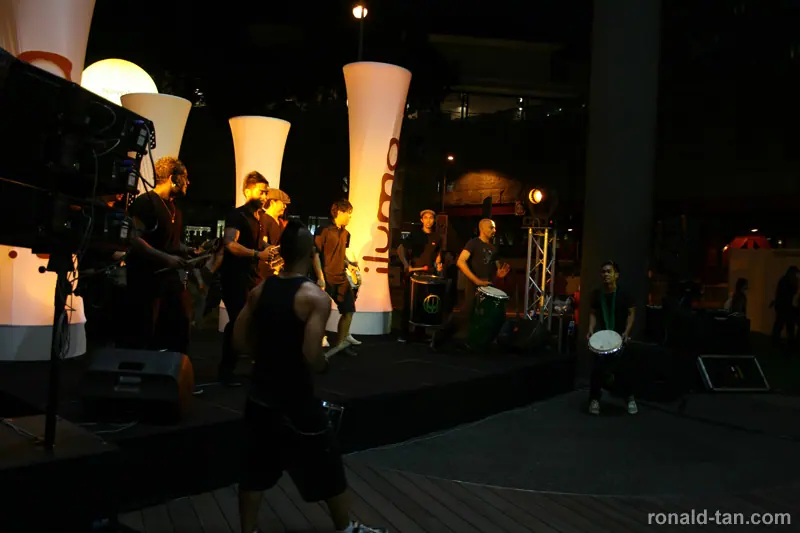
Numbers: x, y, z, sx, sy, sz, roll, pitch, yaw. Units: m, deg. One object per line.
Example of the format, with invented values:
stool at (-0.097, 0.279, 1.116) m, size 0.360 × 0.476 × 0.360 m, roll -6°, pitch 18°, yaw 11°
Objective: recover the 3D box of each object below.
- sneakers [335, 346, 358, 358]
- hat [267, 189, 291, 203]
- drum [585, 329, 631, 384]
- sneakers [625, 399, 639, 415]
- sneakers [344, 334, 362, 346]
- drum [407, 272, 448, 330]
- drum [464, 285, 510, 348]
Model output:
sneakers at (-0.728, 1.220, 8.356) m, size 0.392 × 0.177 × 0.137 m, roll -1°, pitch 0°, yaw 12°
hat at (-1.480, -0.865, 7.059) m, size 0.150 × 0.085 × 0.214 m, roll 4°, pitch 0°, yaw 40°
drum at (2.739, 1.249, 7.705) m, size 0.503 × 0.655 × 0.467 m, roll -13°, pitch 26°, yaw 6°
sneakers at (3.167, 1.933, 7.975) m, size 0.183 × 0.191 × 0.151 m, roll -2°, pitch 2°, yaw 20°
sneakers at (-0.688, 1.119, 8.727) m, size 0.316 × 0.134 × 0.103 m, roll 4°, pitch 3°, yaw -10°
drum at (0.480, 0.576, 10.140) m, size 0.745 × 0.794 × 0.747 m, roll -5°, pitch 10°, yaw -31°
drum at (1.155, 0.766, 8.753) m, size 0.521 × 0.802 × 0.570 m, roll 16°, pitch 3°, yaw -1°
